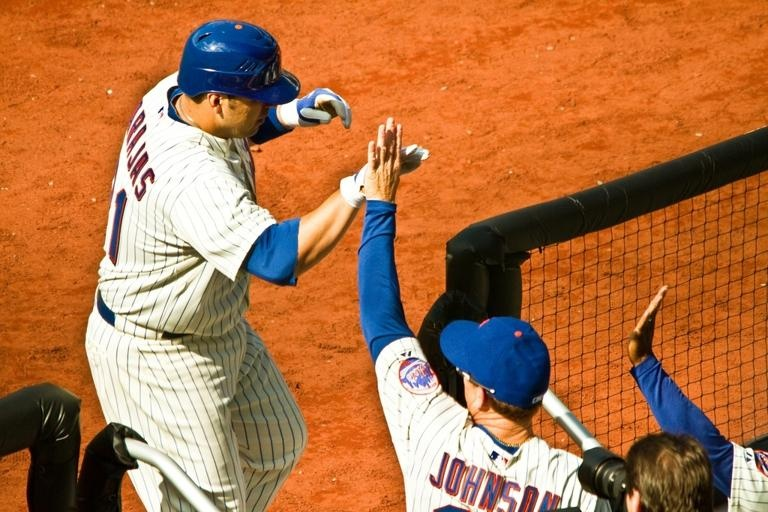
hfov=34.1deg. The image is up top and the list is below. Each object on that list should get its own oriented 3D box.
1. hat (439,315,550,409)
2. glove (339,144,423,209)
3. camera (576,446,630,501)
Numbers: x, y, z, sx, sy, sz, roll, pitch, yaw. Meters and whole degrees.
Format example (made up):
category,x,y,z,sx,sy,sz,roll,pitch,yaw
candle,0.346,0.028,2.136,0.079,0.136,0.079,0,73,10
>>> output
category,x,y,z,sx,sy,sz,roll,pitch,yaw
hat,0.825,0.735,9.445,0.553,0.470,0.805,-26,60,-41
glove,0.052,-0.676,9.525,0.227,0.266,0.743,-13,33,18
camera,1.577,1.599,9.189,0.233,0.196,0.414,12,14,-27
